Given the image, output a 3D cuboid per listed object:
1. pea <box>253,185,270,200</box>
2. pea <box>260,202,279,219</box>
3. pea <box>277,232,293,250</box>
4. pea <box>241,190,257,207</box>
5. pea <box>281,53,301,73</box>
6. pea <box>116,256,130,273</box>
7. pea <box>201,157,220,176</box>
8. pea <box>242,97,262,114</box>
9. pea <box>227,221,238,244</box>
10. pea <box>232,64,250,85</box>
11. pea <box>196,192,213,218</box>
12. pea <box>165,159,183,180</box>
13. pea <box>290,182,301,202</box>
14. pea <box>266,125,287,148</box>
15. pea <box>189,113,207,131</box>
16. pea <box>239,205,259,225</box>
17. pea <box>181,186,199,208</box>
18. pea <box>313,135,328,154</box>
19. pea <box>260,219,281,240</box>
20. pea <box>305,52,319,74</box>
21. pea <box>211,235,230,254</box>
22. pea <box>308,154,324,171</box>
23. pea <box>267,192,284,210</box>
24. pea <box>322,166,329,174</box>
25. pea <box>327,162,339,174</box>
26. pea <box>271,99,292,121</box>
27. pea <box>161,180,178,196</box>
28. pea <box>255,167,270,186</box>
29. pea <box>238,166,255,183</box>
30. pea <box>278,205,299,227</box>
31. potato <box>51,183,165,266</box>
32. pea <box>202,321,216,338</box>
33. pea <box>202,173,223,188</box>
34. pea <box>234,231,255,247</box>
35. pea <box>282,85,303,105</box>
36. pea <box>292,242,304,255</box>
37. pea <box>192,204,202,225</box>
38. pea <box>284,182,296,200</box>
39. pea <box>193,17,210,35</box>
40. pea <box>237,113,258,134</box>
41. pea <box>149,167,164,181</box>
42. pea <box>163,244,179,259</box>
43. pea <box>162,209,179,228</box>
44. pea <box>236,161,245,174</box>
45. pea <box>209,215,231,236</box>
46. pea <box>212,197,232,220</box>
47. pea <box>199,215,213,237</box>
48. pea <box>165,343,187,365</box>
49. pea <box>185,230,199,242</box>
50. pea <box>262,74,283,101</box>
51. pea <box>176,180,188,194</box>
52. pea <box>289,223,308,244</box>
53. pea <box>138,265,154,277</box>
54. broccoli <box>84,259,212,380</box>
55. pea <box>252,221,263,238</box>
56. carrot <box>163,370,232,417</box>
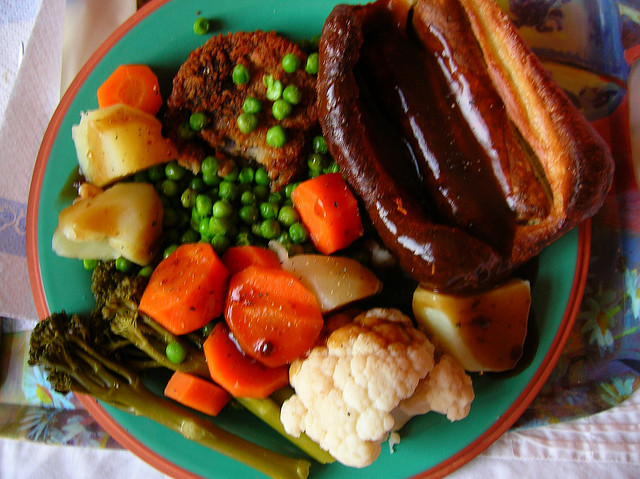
[{"bbox_3d":[-0.193,-0.159,2.326,0.039,0.025,0.055,-14,92,-3],"label":"pea"},{"bbox_3d":[-0.168,-0.096,2.308,0.066,0.031,0.055,4,80,5],"label":"pea"},{"bbox_3d":[-0.115,0.007,2.287,0.033,0.026,0.058,0,82,-2],"label":"pea"},{"bbox_3d":[-0.236,-0.136,2.305,0.042,0.051,0.054,13,69,39],"label":"pea"},{"bbox_3d":[-0.090,-0.550,2.180,0.043,0.028,0.063,-3,94,0],"label":"pea"},{"bbox_3d":[-0.637,0.080,2.248,0.036,0.023,0.051,-9,90,-12],"label":"pea"},{"bbox_3d":[-0.356,-0.239,2.261,0.040,0.031,0.068,6,86,-6],"label":"pea"},{"bbox_3d":[-0.215,-0.424,2.195,0.041,0.025,0.057,5,91,-2],"label":"pea"},{"bbox_3d":[-0.286,-0.022,2.295,0.048,0.026,0.062,20,105,43],"label":"pea"},{"bbox_3d":[-0.249,-0.523,2.193,0.054,0.036,0.055,9,81,6],"label":"pea"},{"bbox_3d":[-0.377,-0.110,2.269,0.042,0.038,0.082,-5,91,8],"label":"pea"},{"bbox_3d":[-0.477,-0.229,2.279,0.040,0.032,0.070,1,96,-2],"label":"pea"},{"bbox_3d":[-0.079,-0.156,2.274,0.017,0.063,0.071,11,67,5],"label":"pea"},{"bbox_3d":[-0.137,-0.326,2.205,0.047,0.036,0.079,-1,93,3],"label":"pea"},{"bbox_3d":[-0.389,-0.378,2.214,0.040,0.035,0.056,-13,96,-2],"label":"pea"},{"bbox_3d":[-0.234,-0.084,2.302,0.046,0.031,0.068,-5,91,-4],"label":"pea"},{"bbox_3d":[-0.427,-0.139,2.288,0.049,0.027,0.066,42,86,10],"label":"pea"},{"bbox_3d":[0.001,-0.310,2.256,0.044,0.044,0.068,4,73,-42],"label":"pea"},{"bbox_3d":[-0.161,-0.034,2.281,0.045,0.032,0.070,-2,89,-4],"label":"pea"},{"bbox_3d":[-0.022,-0.556,2.187,0.037,0.034,0.064,19,85,19],"label":"pea"},{"bbox_3d":[-0.323,0.017,2.264,0.045,0.030,0.061,-19,100,-11],"label":"pea"},{"bbox_3d":[-0.010,-0.252,2.279,0.039,0.046,0.065,-1,70,-18],"label":"pea"},{"bbox_3d":[-0.147,-0.129,2.324,0.037,0.053,0.053,3,80,7],"label":"pea"},{"bbox_3d":[0.019,-0.232,2.293,0.011,0.005,0.027,9,108,6],"label":"pea"},{"bbox_3d":[0.044,-0.236,2.280,0.022,0.012,0.042,0,96,14],"label":"pea"},{"bbox_3d":[-0.120,-0.411,2.197,0.046,0.031,0.068,-4,95,-2],"label":"pea"},{"bbox_3d":[-0.493,-0.167,2.280,0.036,0.040,0.052,-1,89,10],"label":"pea"},{"bbox_3d":[-0.190,-0.208,2.304,0.042,0.048,0.071,-4,93,-20],"label":"pea"},{"bbox_3d":[-0.244,-0.215,2.320,0.035,0.029,0.063,7,89,-5],"label":"pea"},{"bbox_3d":[-0.104,-0.076,2.287,0.048,0.033,0.070,-2,89,3],"label":"pea"},{"bbox_3d":[-0.685,-0.061,2.241,0.340,0.169,0.256,3,80,5],"label":"potato"},{"bbox_3d":[-0.357,0.288,2.231,0.032,0.026,0.054,2,77,8],"label":"pea"},{"bbox_3d":[-0.354,-0.193,2.300,0.046,0.039,0.035,3,80,37],"label":"pea"},{"bbox_3d":[-0.251,0.000,2.276,0.037,0.034,0.062,-6,50,0],"label":"pea"},{"bbox_3d":[-0.087,-0.458,2.187,0.048,0.053,0.065,12,76,29],"label":"pea"},{"bbox_3d":[-0.070,0.030,2.284,0.023,0.015,0.035,-21,92,-1],"label":"pea"},{"bbox_3d":[-0.406,-0.084,2.297,0.034,0.029,0.063,-4,99,-3],"label":"pea"},{"bbox_3d":[-0.097,-0.163,2.332,0.012,0.039,0.048,9,102,-30],"label":"pea"},{"bbox_3d":[-0.386,-0.699,2.266,0.041,0.029,0.058,-12,95,-4],"label":"pea"},{"bbox_3d":[-0.230,-0.373,2.213,0.063,0.036,0.058,-2,80,4],"label":"pea"},{"bbox_3d":[-0.546,-0.217,2.293,0.033,0.020,0.047,-5,94,-2],"label":"pea"},{"bbox_3d":[-0.487,0.037,2.278,0.031,0.031,0.051,-2,40,26],"label":"pea"},{"bbox_3d":[-0.495,-0.071,2.292,0.041,0.018,0.059,-4,93,-14],"label":"pea"},{"bbox_3d":[-0.268,-0.244,2.334,0.020,0.010,0.035,-20,92,-4],"label":"pea"},{"bbox_3d":[-0.327,-0.044,2.245,0.046,0.030,0.066,-3,91,-3],"label":"pea"},{"bbox_3d":[-0.317,-0.098,2.256,0.044,0.034,0.076,-5,85,-16],"label":"pea"},{"bbox_3d":[-0.373,-0.045,2.274,0.041,0.028,0.060,4,89,19],"label":"pea"},{"bbox_3d":[-0.453,0.359,2.184,0.048,0.032,0.071,2,88,-6],"label":"pea"},{"bbox_3d":[-0.425,-0.010,2.309,0.029,0.019,0.042,-2,80,-10],"label":"pea"},{"bbox_3d":[-0.149,-0.486,2.203,0.065,0.023,0.077,3,81,5],"label":"pea"},{"bbox_3d":[-0.458,-0.174,2.307,0.028,0.030,0.040,-2,92,4],"label":"pea"},{"bbox_3d":[-0.069,-0.021,2.267,0.048,0.052,0.081,3,69,-16],"label":"pea"},{"bbox_3d":[-0.563,0.105,2.261,0.027,0.018,0.039,-3,76,-2],"label":"pea"},{"bbox_3d":[-0.588,0.278,2.343,0.440,0.222,0.298,42,109,-2],"label":"broccoli"},{"bbox_3d":[-0.207,-0.033,2.314,0.018,0.035,0.046,-11,85,-8],"label":"pea"},{"bbox_3d":[-0.400,0.474,2.255,0.188,0.078,0.136,23,91,-6],"label":"carrot"}]
